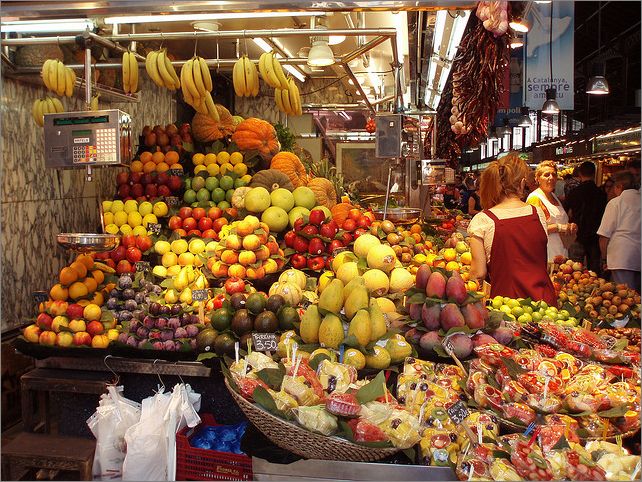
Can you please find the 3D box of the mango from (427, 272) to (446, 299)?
[{"bbox_3d":[0.637,0.251,2.685,0.110,0.195,0.111,4,-14,-4],"label":"mango"}]

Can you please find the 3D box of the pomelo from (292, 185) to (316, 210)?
[{"bbox_3d":[-0.159,-0.396,4.425,0.173,0.204,0.213,2,-5,6],"label":"pomelo"}]

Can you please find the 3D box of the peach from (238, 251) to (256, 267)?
[{"bbox_3d":[-0.594,0.134,3.902,0.106,0.122,0.111,-4,5,-15],"label":"peach"}]

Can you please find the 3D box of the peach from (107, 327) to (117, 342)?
[{"bbox_3d":[-1.440,0.646,3.325,0.067,0.089,0.072,-2,1,-1],"label":"peach"}]

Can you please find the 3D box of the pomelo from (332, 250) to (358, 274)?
[{"bbox_3d":[0.184,0.164,3.623,0.115,0.128,0.146,0,-37,1],"label":"pomelo"}]

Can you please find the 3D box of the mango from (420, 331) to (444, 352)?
[{"bbox_3d":[0.611,0.558,2.655,0.104,0.087,0.064,-22,-39,26],"label":"mango"}]

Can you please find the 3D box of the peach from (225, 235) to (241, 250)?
[{"bbox_3d":[-0.711,0.012,3.888,0.109,0.115,0.117,0,-3,-4],"label":"peach"}]

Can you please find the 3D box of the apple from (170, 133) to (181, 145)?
[{"bbox_3d":[-1.543,-1.069,5.134,0.107,0.145,0.110,-2,-10,-1],"label":"apple"}]

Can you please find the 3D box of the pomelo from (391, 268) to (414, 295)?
[{"bbox_3d":[0.567,0.286,3.448,0.154,0.204,0.159,-3,7,7],"label":"pomelo"}]

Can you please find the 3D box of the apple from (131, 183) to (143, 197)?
[{"bbox_3d":[-1.835,-0.502,4.777,0.129,0.142,0.090,2,6,17],"label":"apple"}]

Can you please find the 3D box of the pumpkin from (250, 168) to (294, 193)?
[{"bbox_3d":[-0.484,-0.604,4.688,0.257,0.297,0.159,-5,-14,-22],"label":"pumpkin"}]

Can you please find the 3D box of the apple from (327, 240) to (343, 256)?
[{"bbox_3d":[0.109,0.042,4.028,0.112,0.123,0.123,-4,43,7],"label":"apple"}]

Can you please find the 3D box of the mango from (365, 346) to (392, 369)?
[{"bbox_3d":[0.311,0.623,2.590,0.117,0.101,0.092,6,-18,-1],"label":"mango"}]

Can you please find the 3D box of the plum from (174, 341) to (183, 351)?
[{"bbox_3d":[-0.953,0.693,3.204,0.048,0.051,0.050,0,-8,-2],"label":"plum"}]

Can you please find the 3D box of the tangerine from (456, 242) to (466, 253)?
[{"bbox_3d":[1.266,0.060,4.344,0.100,0.100,0.113,2,7,18],"label":"tangerine"}]

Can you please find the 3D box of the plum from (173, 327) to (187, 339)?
[{"bbox_3d":[-0.947,0.611,3.230,0.062,0.082,0.064,-6,-9,4],"label":"plum"}]

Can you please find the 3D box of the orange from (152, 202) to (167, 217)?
[{"bbox_3d":[-1.537,-0.304,4.569,0.118,0.155,0.127,1,-17,1],"label":"orange"}]

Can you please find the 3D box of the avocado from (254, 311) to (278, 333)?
[{"bbox_3d":[-0.332,0.494,2.962,0.110,0.149,0.116,10,-14,15],"label":"avocado"}]

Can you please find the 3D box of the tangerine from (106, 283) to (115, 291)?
[{"bbox_3d":[-1.686,0.363,3.830,0.056,0.048,0.059,4,4,-5],"label":"tangerine"}]

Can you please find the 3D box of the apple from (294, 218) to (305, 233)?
[{"bbox_3d":[-0.195,-0.145,4.164,0.082,0.119,0.189,0,6,-5],"label":"apple"}]

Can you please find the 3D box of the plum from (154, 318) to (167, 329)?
[{"bbox_3d":[-1.094,0.557,3.286,0.066,0.067,0.079,40,2,-26],"label":"plum"}]

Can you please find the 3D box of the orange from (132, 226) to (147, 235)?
[{"bbox_3d":[-1.686,-0.096,4.456,0.086,0.107,0.092,-15,-36,-19],"label":"orange"}]

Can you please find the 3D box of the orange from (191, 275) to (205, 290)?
[{"bbox_3d":[-0.977,0.331,3.799,0.113,0.103,0.207,-1,7,-15],"label":"orange"}]

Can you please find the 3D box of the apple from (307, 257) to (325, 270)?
[{"bbox_3d":[-0.047,0.184,3.996,0.104,0.114,0.117,8,38,3],"label":"apple"}]

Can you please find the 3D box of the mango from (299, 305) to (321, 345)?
[{"bbox_3d":[-0.067,0.462,2.677,0.148,0.204,0.094,2,6,15],"label":"mango"}]

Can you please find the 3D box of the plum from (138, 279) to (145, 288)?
[{"bbox_3d":[-1.428,0.335,3.823,0.043,0.063,0.035,-12,-9,-7],"label":"plum"}]

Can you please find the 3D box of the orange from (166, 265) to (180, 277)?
[{"bbox_3d":[-1.245,0.247,4.032,0.094,0.081,0.076,-17,42,0],"label":"orange"}]

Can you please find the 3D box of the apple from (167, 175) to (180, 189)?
[{"bbox_3d":[-1.458,-0.578,4.765,0.105,0.144,0.112,-2,-1,13],"label":"apple"}]

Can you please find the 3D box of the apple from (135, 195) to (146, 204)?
[{"bbox_3d":[-1.778,-0.411,4.722,0.065,0.069,0.066,-25,-12,41],"label":"apple"}]

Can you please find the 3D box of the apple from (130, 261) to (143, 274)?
[{"bbox_3d":[-1.570,0.225,4.094,0.084,0.064,0.108,-4,31,-18],"label":"apple"}]

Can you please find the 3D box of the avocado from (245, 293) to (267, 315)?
[{"bbox_3d":[-0.407,0.387,2.980,0.120,0.162,0.117,5,10,-6],"label":"avocado"}]

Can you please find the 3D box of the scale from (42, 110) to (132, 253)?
[{"bbox_3d":[-1.873,-0.550,3.938,0.649,0.925,0.298,0,4,8],"label":"scale"}]

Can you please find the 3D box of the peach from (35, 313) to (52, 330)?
[{"bbox_3d":[-1.972,0.559,3.422,0.096,0.128,0.102,5,1,18],"label":"peach"}]

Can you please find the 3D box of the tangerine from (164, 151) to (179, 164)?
[{"bbox_3d":[-1.551,-0.857,5.041,0.124,0.160,0.132,16,16,2],"label":"tangerine"}]

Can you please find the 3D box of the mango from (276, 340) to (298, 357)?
[{"bbox_3d":[-0.187,0.577,2.614,0.128,0.141,0.125,1,-9,-6],"label":"mango"}]

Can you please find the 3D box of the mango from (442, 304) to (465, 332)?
[{"bbox_3d":[0.697,0.408,2.604,0.104,0.157,0.119,-2,-27,-1],"label":"mango"}]

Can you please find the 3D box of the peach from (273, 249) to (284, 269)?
[{"bbox_3d":[-0.352,0.160,4.080,0.098,0.147,0.113,6,-27,-18],"label":"peach"}]

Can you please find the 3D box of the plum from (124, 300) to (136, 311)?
[{"bbox_3d":[-1.423,0.476,3.573,0.089,0.078,0.043,-3,7,-30],"label":"plum"}]

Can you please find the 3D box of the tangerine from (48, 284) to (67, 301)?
[{"bbox_3d":[-1.963,0.404,3.602,0.104,0.110,0.108,27,-7,17],"label":"tangerine"}]

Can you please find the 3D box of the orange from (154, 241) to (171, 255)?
[{"bbox_3d":[-1.411,0.061,4.262,0.146,0.121,0.094,2,6,18],"label":"orange"}]

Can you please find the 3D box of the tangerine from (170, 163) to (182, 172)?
[{"bbox_3d":[-1.481,-0.744,4.907,0.089,0.118,0.095,-1,1,2],"label":"tangerine"}]

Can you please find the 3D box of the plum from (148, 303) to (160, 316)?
[{"bbox_3d":[-1.155,0.470,3.325,0.072,0.098,0.077,0,2,7],"label":"plum"}]

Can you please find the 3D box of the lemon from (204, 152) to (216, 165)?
[{"bbox_3d":[-1.151,-0.843,5.019,0.110,0.126,0.135,-7,-5,4],"label":"lemon"}]

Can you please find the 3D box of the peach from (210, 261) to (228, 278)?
[{"bbox_3d":[-0.825,0.231,3.955,0.120,0.127,0.123,24,-11,-26],"label":"peach"}]

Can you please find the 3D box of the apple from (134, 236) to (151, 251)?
[{"bbox_3d":[-1.608,0.023,4.337,0.150,0.137,0.112,4,7,30],"label":"apple"}]

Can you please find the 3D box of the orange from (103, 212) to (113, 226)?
[{"bbox_3d":[-2.027,-0.208,4.565,0.095,0.124,0.100,6,8,12],"label":"orange"}]

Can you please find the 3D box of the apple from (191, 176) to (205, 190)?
[{"bbox_3d":[-1.214,-0.562,4.742,0.122,0.139,0.125,1,4,1],"label":"apple"}]

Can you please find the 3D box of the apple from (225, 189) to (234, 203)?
[{"bbox_3d":[-0.892,-0.444,4.639,0.094,0.124,0.103,2,3,3],"label":"apple"}]

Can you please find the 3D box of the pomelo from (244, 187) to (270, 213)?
[{"bbox_3d":[-0.577,-0.392,4.432,0.200,0.223,0.226,3,26,5],"label":"pomelo"}]

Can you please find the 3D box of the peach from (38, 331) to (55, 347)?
[{"bbox_3d":[-1.896,0.674,3.323,0.091,0.118,0.092,13,-1,-17],"label":"peach"}]

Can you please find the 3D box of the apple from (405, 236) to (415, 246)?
[{"bbox_3d":[0.778,0.000,4.194,0.065,0.044,0.069,1,7,9],"label":"apple"}]

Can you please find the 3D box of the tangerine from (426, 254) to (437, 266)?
[{"bbox_3d":[0.946,0.161,4.125,0.074,0.079,0.074,-1,5,-40],"label":"tangerine"}]

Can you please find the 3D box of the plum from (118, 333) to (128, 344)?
[{"bbox_3d":[-1.355,0.660,3.277,0.052,0.071,0.056,1,0,9],"label":"plum"}]

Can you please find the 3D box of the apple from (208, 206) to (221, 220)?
[{"bbox_3d":[-0.995,-0.259,4.470,0.100,0.110,0.106,1,-13,-7],"label":"apple"}]
